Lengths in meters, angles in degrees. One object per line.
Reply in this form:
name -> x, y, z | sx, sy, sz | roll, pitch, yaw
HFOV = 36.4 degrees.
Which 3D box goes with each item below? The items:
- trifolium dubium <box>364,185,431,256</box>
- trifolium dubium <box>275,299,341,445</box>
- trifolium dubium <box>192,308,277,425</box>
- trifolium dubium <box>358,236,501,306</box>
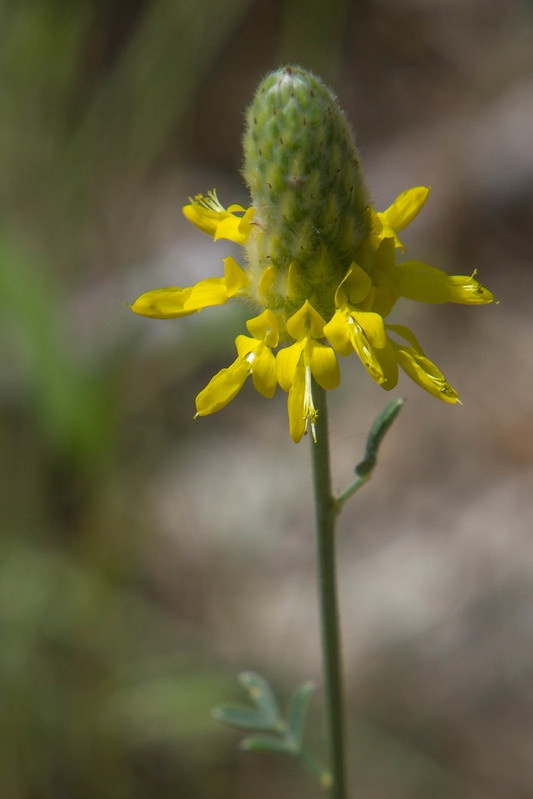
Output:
trifolium dubium -> 0.187, -0.272, 1.212 | 0.079, 0.104, 0.040 | 32, 13, -14
trifolium dubium -> 0.053, -0.036, 1.120 | 0.084, 0.192, 0.058 | -3, -12, -7
trifolium dubium -> -0.034, -0.043, 1.198 | 0.120, 0.137, 0.176 | -5, -11, 5
trifolium dubium -> 0.233, -0.164, 1.201 | 0.196, 0.086, 0.058 | 17, -49, -5
